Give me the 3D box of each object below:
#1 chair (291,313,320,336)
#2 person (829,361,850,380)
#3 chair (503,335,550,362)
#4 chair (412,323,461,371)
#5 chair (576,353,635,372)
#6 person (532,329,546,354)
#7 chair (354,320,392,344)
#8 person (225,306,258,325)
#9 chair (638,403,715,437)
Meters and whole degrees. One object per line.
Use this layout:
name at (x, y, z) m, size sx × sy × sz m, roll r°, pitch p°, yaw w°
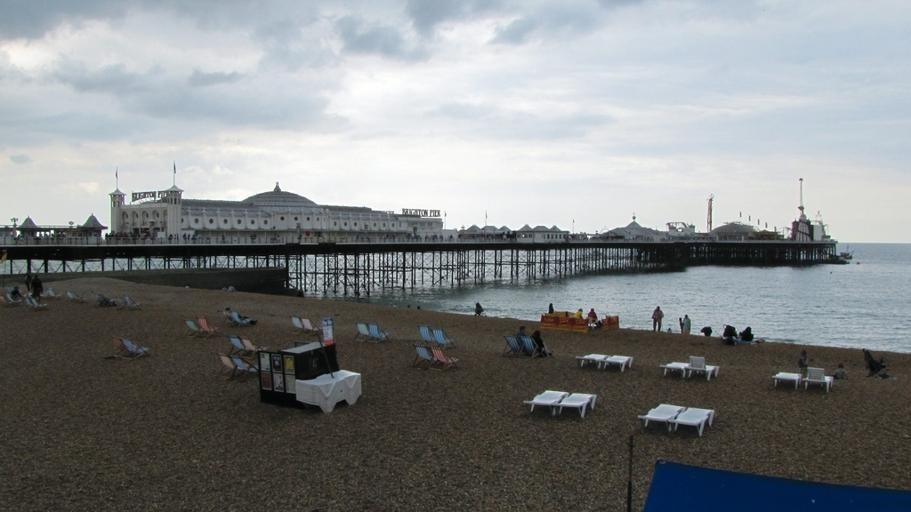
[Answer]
chair at (-7.060, 3.282, 38.012) m, size 0.750 × 0.862 × 1.684 m, roll 14°, pitch -7°, yaw -42°
person at (15.594, 4.645, 32.773) m, size 0.877 × 0.805 × 0.798 m, roll 8°, pitch -9°, yaw -28°
chair at (3.142, 3.936, 35.172) m, size 1.702 × 0.862 × 1.053 m, roll 0°, pitch 1°, yaw 32°
chair at (-0.805, 3.958, 34.021) m, size 1.367 × 1.751 × 1.946 m, roll -6°, pitch -18°, yaw 26°
chair at (6.302, 4.443, 33.719) m, size 2.217 × 0.570 × 1.087 m, roll -1°, pitch 2°, yaw 9°
person at (3.683, 3.769, 35.197) m, size 0.612 × 1.021 × 0.837 m, roll -1°, pitch 2°, yaw 1°
chair at (-3.681, 3.606, 37.119) m, size 1.441 × 0.662 × 0.917 m, roll 4°, pitch -5°, yaw 38°
person at (-10.820, 3.044, 40.738) m, size 1.213 × 0.410 × 0.661 m, roll 6°, pitch -9°, yaw -6°
chair at (7.959, 5.854, 28.775) m, size 2.543 × 0.845 × 1.258 m, roll -1°, pitch 2°, yaw 13°
